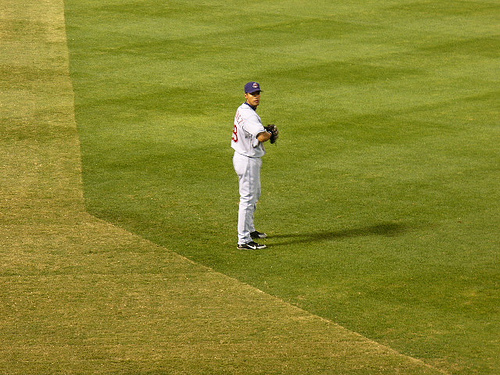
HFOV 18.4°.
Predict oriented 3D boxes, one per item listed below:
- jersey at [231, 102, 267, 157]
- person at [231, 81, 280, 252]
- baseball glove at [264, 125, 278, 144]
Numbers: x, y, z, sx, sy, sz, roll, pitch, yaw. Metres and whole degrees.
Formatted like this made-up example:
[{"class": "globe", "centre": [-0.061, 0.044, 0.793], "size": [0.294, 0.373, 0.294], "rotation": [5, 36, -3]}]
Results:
[{"class": "jersey", "centre": [-0.038, -0.940, 26.215], "size": [0.595, 0.740, 0.981], "rotation": [-11, 32, -17]}, {"class": "person", "centre": [0.055, -0.344, 25.775], "size": [0.708, 2.780, 0.891], "rotation": [1, 14, -7]}, {"class": "baseball glove", "centre": [0.366, -0.877, 25.612], "size": [0.125, 0.259, 0.224], "rotation": [-14, 27, -42]}]
